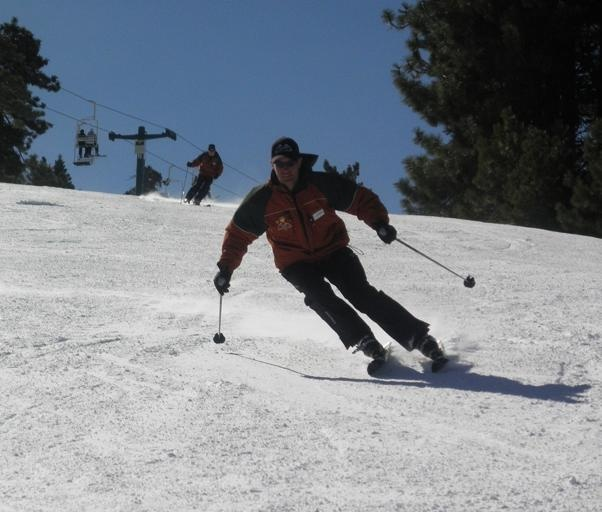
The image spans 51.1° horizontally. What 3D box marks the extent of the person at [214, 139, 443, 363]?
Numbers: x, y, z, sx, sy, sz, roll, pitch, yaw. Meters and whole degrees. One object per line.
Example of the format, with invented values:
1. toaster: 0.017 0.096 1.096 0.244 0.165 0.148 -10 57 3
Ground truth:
1. person: 0.342 0.112 4.907 2.009 1.296 0.555 50 7 2

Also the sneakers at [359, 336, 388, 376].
1. sneakers: 0.540 0.718 4.573 0.090 0.170 0.280 47 8 -26

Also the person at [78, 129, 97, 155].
1. person: -8.977 -4.712 26.487 1.035 1.133 0.383 9 14 32

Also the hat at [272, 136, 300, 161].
1. hat: -0.108 -0.819 4.791 0.214 0.158 0.158 2 12 1

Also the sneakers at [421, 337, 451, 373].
1. sneakers: 0.975 0.722 4.577 0.161 0.131 0.208 0 37 -27
